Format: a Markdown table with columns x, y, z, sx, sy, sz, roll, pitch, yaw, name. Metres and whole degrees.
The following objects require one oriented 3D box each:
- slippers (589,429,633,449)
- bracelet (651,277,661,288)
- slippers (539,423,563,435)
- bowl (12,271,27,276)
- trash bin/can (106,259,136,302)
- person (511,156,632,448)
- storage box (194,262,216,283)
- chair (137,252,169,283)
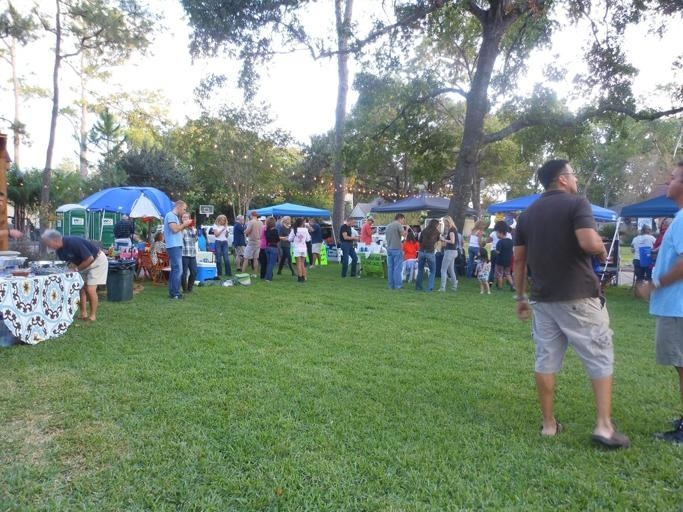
| x | y | z | sx | sy | sz | roll | pitch | yaw | name |
| --- | --- | --- | --- | --- | --- | --- | --- | --- | --- |
| 2.722 | 1.828 | 5.667 | 0.347 | 0.172 | 0.166 | 1 | -4 | 2 | slippers |
| 3.178 | 0.263 | 5.651 | 0.020 | 0.091 | 0.086 | 11 | 22 | 8 | bracelet |
| 2.202 | 1.818 | 5.885 | 0.278 | 0.105 | 0.101 | -7 | 3 | -32 | slippers |
| -4.547 | 0.237 | 7.962 | 0.207 | 0.063 | 0.151 | -1 | 3 | -33 | bowl |
| -4.300 | 0.471 | 10.928 | 0.623 | 0.923 | 0.693 | 0 | 0 | 20 | trash bin/can |
| 2.319 | 0.442 | 5.779 | 1.061 | 2.905 | 0.449 | 2 | 3 | 19 | person |
| -3.352 | 0.387 | 13.969 | 0.493 | 0.483 | 0.450 | 0 | 3 | -16 | storage box |
| -4.628 | 0.256 | 13.726 | 0.612 | 0.759 | 1.693 | 0 | 3 | -28 | chair |
